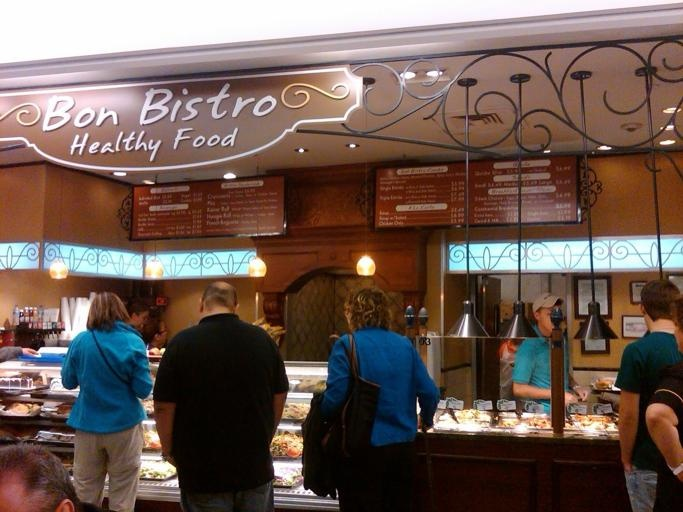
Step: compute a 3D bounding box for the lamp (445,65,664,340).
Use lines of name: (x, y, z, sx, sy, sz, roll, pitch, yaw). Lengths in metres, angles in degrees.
lamp: (2.306, -0.623, 6.507, 2.556, 2.770, 0.624, 0, -7, 3)

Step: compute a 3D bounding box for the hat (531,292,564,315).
hat: (1.706, 0.395, 5.192, 0.145, 0.102, 0.194, 3, -21, -33)

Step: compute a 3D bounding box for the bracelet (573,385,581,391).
bracelet: (1.869, 1.048, 4.953, 0.042, 0.039, 0.042, 1, 2, -3)

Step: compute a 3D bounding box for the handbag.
handbag: (-0.015, 1.007, 3.946, 0.531, 1.008, 0.155, -7, -9, 33)
